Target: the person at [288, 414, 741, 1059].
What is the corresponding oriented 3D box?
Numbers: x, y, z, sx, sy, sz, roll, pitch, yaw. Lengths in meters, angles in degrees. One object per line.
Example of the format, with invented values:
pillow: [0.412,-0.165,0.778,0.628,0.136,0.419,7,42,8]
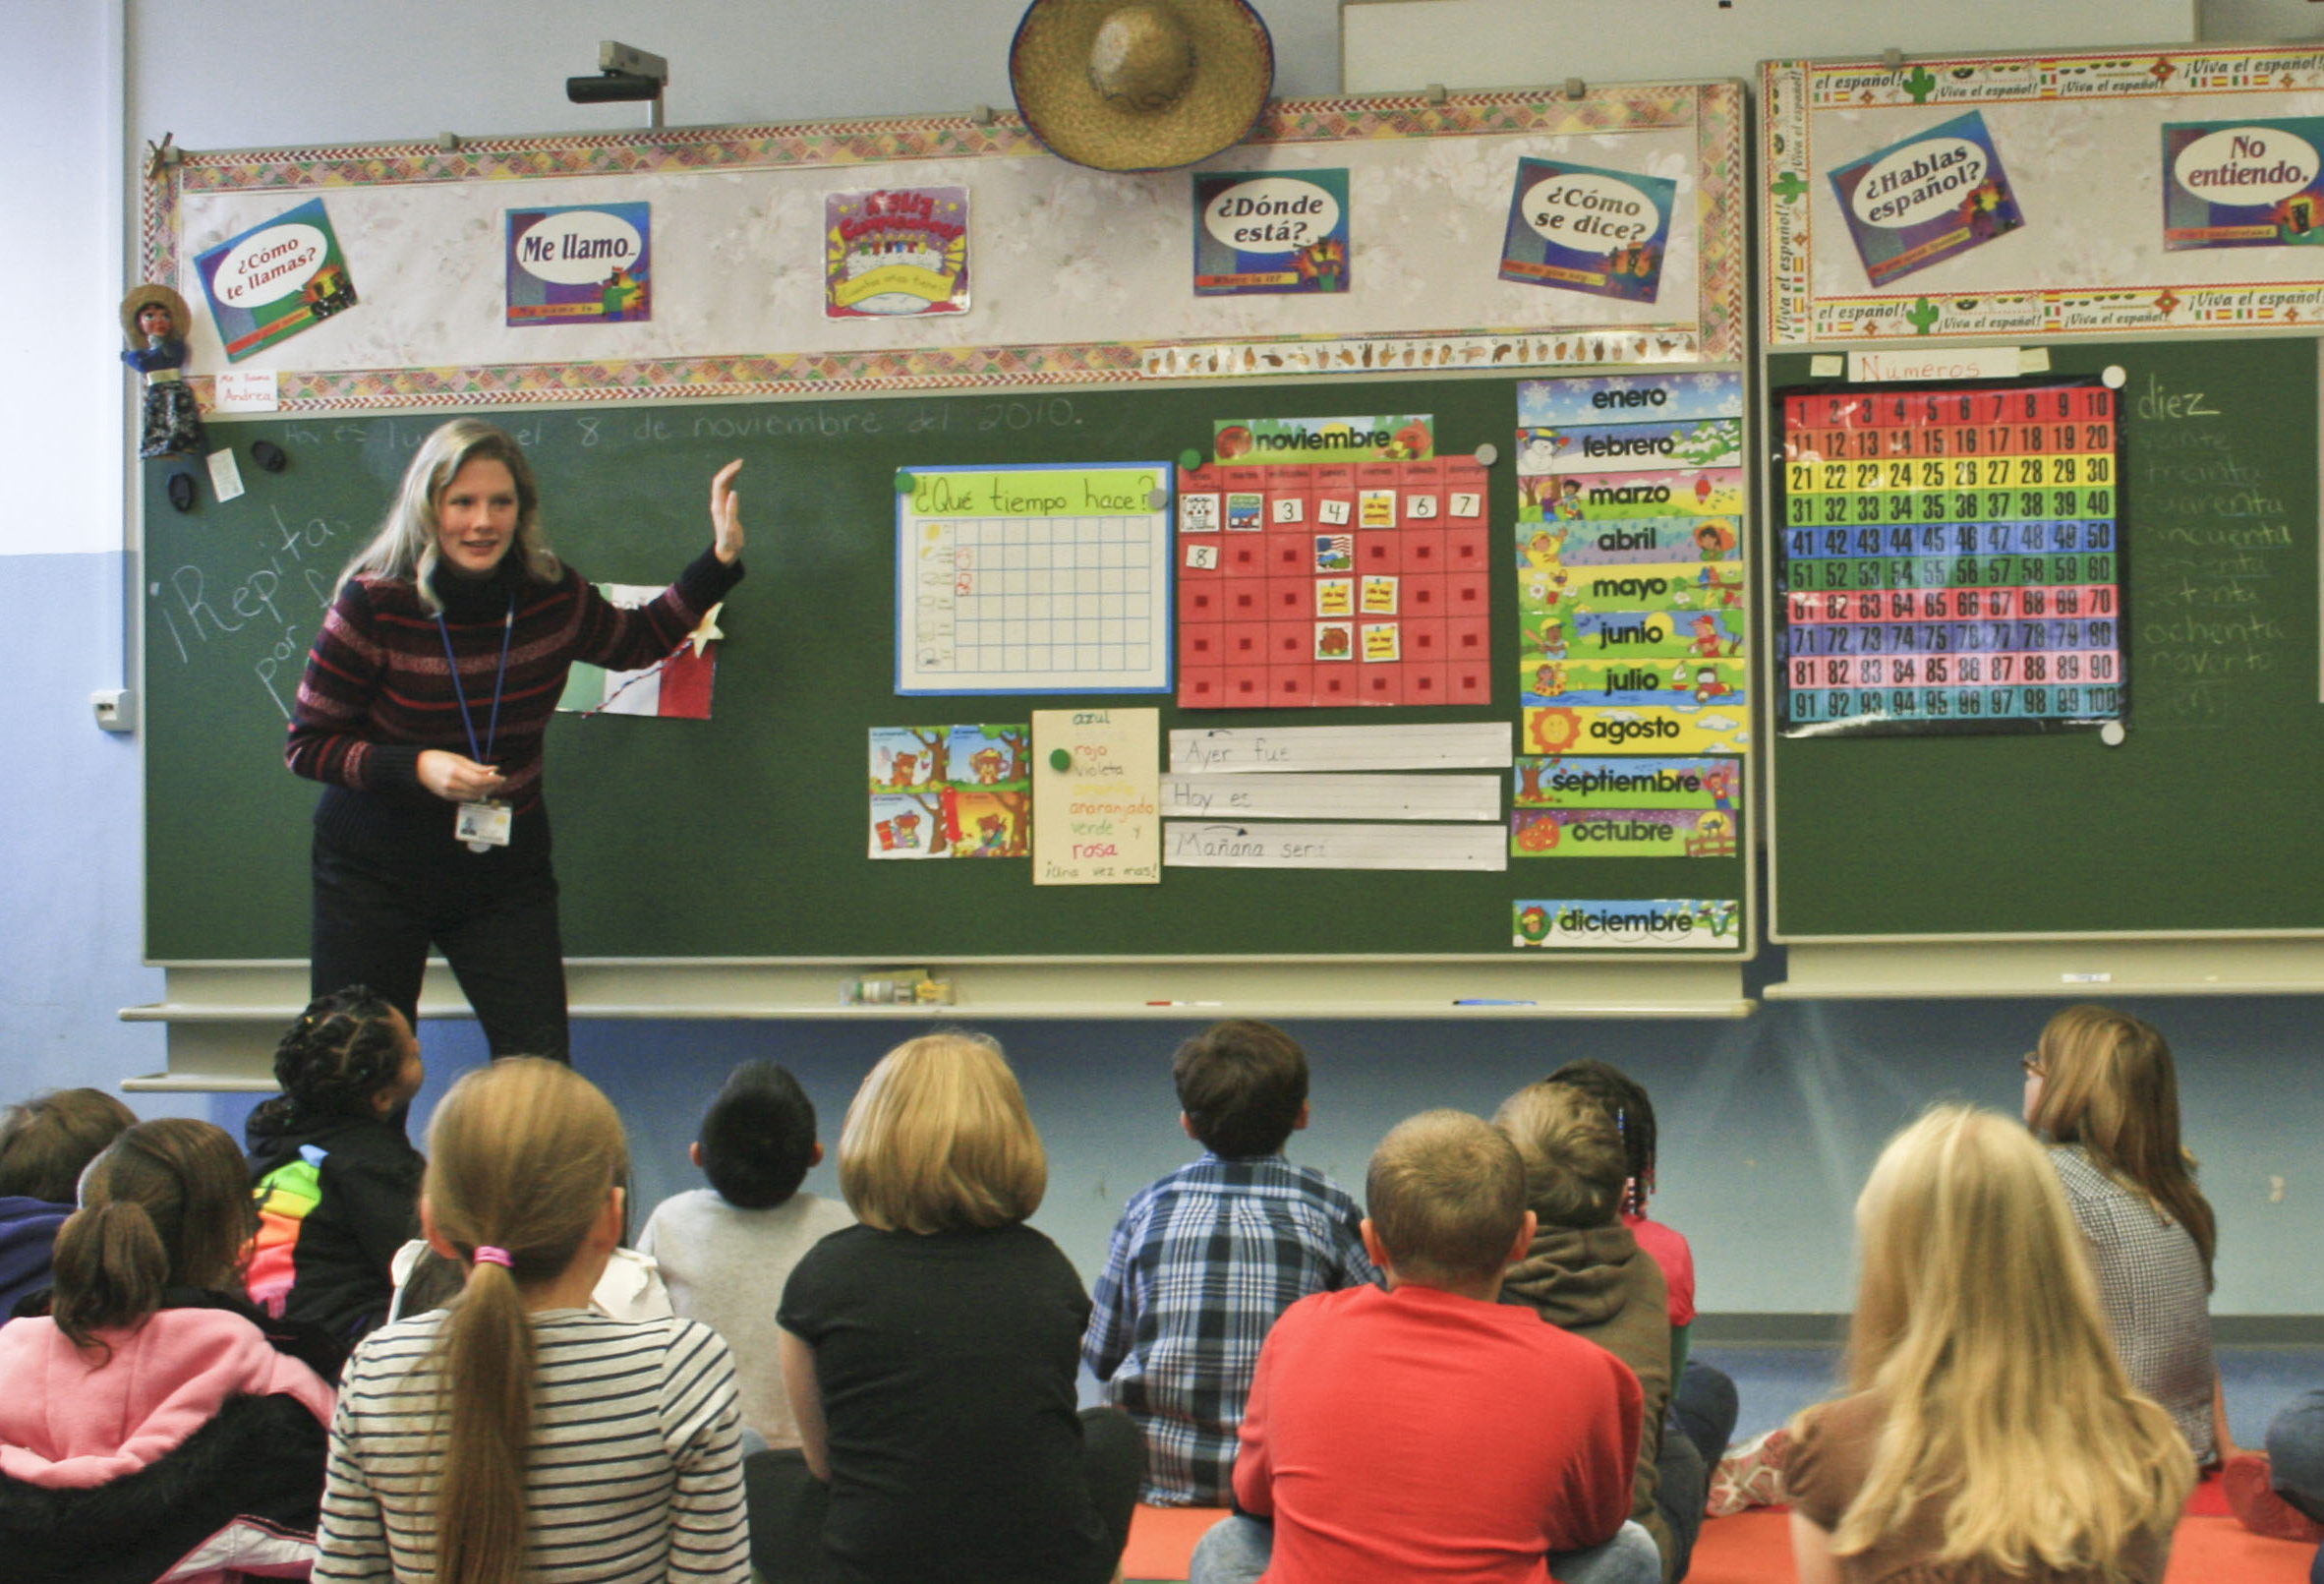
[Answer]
person: [-1.554,-0.106,6.775,0.939,1.441,0.527,1,-3,-19]
